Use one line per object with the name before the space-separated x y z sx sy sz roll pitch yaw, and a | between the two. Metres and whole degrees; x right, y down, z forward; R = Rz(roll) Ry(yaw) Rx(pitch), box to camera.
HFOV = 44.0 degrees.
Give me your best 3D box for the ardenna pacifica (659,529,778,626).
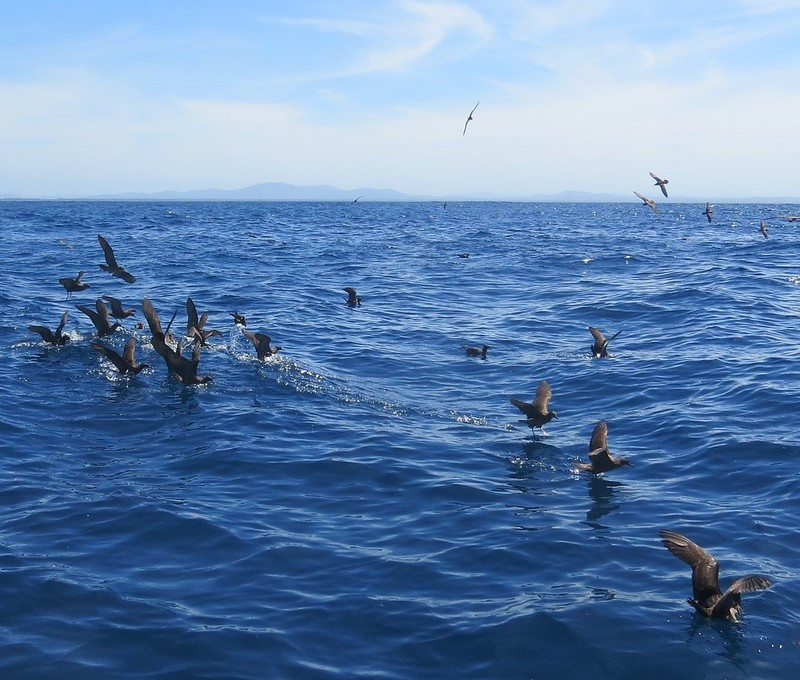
ardenna pacifica | 4.246 3.175 13.245 1.393 1.216 0.654 7 11 38
